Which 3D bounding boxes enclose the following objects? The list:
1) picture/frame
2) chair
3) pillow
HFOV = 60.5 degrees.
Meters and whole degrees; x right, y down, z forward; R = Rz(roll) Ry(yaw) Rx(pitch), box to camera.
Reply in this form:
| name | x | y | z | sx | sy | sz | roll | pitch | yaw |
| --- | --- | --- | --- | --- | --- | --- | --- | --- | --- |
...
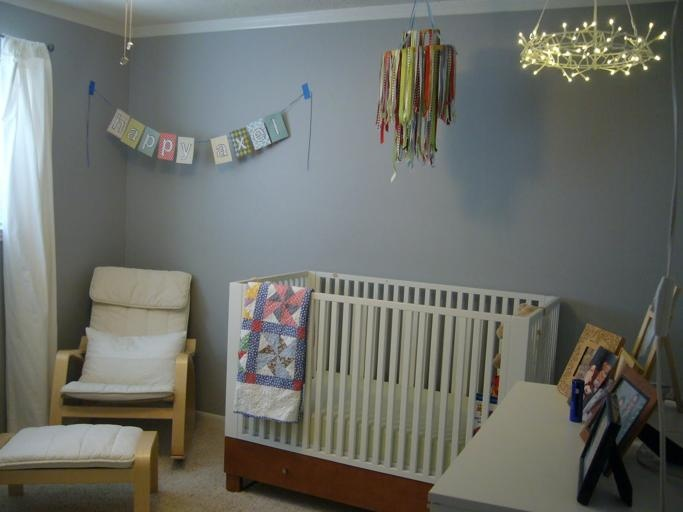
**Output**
| name | x | y | z | sx | sy | sz | roll | pitch | yaw |
| --- | --- | --- | --- | --- | --- | --- | --- | --- | --- |
| picture/frame | 0.947 | 0.512 | 2.271 | 0.343 | 0.720 | 0.481 | 3 | 11 | 4 |
| chair | -1.491 | 0.572 | 4.001 | 0.745 | 1.202 | 1.122 | 1 | -2 | -5 |
| pillow | -1.320 | 0.626 | 3.662 | 0.609 | 0.262 | 0.331 | 4 | 7 | -8 |
